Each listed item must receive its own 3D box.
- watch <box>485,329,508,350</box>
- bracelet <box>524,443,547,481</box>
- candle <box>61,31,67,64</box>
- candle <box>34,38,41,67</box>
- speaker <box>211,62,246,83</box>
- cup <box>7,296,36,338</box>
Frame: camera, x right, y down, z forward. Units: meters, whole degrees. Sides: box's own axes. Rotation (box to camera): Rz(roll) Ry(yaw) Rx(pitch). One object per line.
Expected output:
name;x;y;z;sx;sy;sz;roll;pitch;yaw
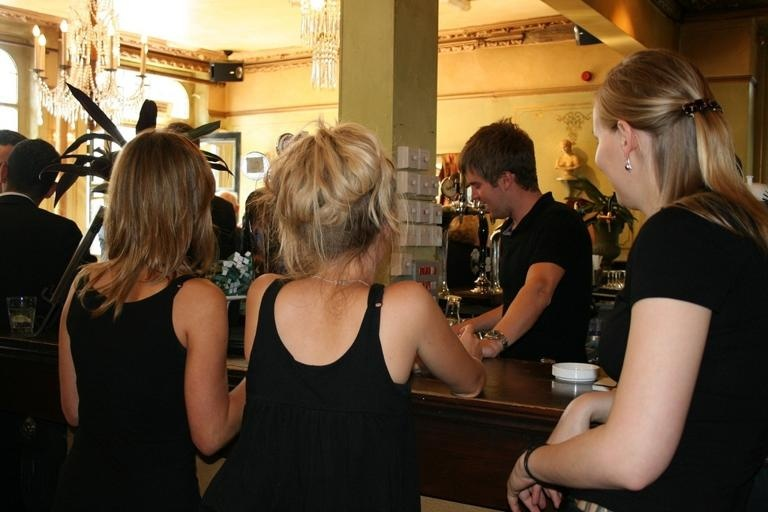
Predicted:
watch;0.441;0.313;2.498;0.090;0.096;0.057;6;31;13
bracelet;0.397;0.515;1.609;0.037;0.087;0.101;6;4;-11
candle;-3.119;-2.019;6.147;0.045;0.294;0.265;-2;7;-32
candle;-3.279;-1.936;6.002;0.062;0.288;0.176;-2;7;-35
speaker;-2.716;-3.217;10.933;0.577;0.386;0.564;1;6;-15
cup;-1.586;0.258;2.750;0.158;0.165;0.082;5;7;27
